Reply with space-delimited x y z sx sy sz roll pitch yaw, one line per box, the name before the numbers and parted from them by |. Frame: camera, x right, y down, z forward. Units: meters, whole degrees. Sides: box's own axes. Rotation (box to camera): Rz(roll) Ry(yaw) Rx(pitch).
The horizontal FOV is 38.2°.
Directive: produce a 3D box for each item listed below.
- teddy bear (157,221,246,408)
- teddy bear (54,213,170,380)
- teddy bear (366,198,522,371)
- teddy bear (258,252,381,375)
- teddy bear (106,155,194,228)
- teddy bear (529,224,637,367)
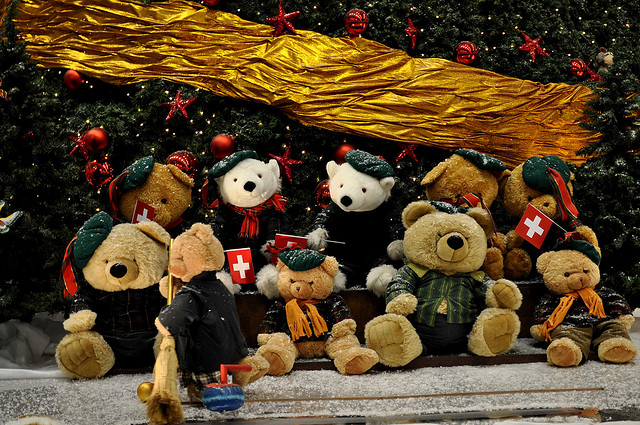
teddy bear | -0.828 0.722 6.545 0.613 1.231 0.436 -1 15 -13
teddy bear | -1.428 0.633 7.111 1.026 1.162 0.885 -1 12 1
teddy bear | 0.971 0.516 7.190 1.165 1.248 0.826 3 6 -6
teddy bear | -0.043 0.767 7.142 1.033 0.876 0.816 1 13 11
teddy bear | -1.349 -0.176 7.808 0.640 0.550 0.633 9 -12 1
teddy bear | 2.066 0.666 7.166 0.766 0.909 0.687 4 15 5
